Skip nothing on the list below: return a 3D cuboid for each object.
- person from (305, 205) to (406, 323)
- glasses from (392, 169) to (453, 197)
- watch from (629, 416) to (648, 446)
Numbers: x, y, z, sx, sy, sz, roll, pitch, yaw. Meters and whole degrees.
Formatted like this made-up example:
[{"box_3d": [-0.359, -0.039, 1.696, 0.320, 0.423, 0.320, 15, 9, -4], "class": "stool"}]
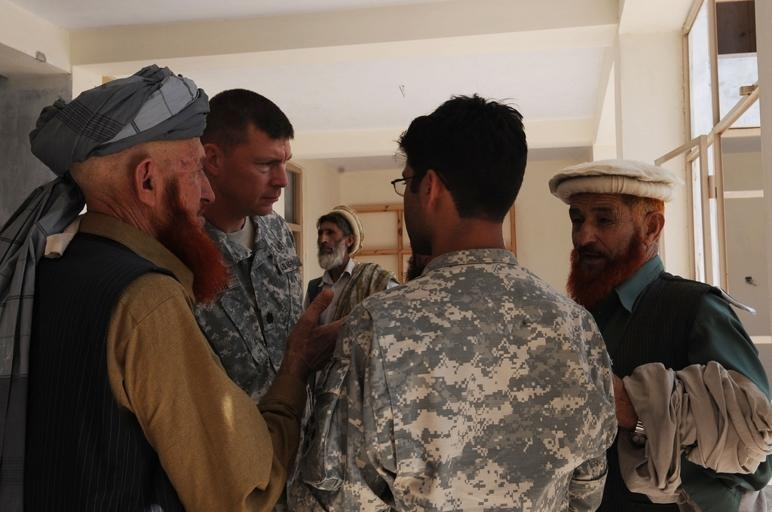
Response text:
[{"box_3d": [-0.301, -0.002, 7.209, 1.072, 1.427, 0.582, -10, -15, 44], "class": "person"}, {"box_3d": [0.150, -0.261, 2.953, 0.144, 0.045, 0.121, 5, -6, -40], "class": "glasses"}, {"box_3d": [0.973, 0.683, 2.992, 0.057, 0.088, 0.065, 2, 1, 17], "class": "watch"}]
